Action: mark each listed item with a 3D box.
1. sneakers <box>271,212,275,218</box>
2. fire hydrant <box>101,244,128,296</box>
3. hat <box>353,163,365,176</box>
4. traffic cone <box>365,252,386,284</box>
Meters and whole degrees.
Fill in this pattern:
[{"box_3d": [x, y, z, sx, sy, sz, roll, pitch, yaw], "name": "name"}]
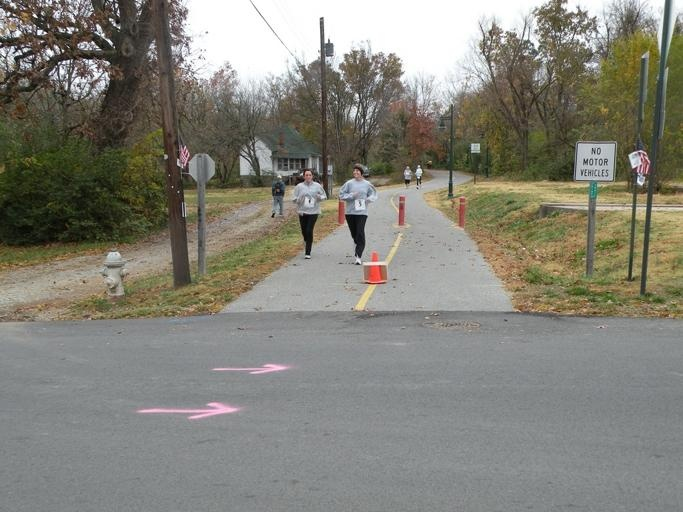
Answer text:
[{"box_3d": [-3.181, -1.944, 34.310, 0.192, 0.236, 0.377, -3, -1, -2], "name": "sneakers"}, {"box_3d": [-4.387, 0.330, 14.079, 0.408, 0.916, 0.664, -4, 7, -18], "name": "fire hydrant"}, {"box_3d": [0.382, -1.917, 16.079, 0.227, 0.263, 0.285, -3, -7, 8], "name": "hat"}, {"box_3d": [0.652, 0.232, 14.354, 0.426, 0.563, 0.495, -2, 7, 1], "name": "traffic cone"}]
